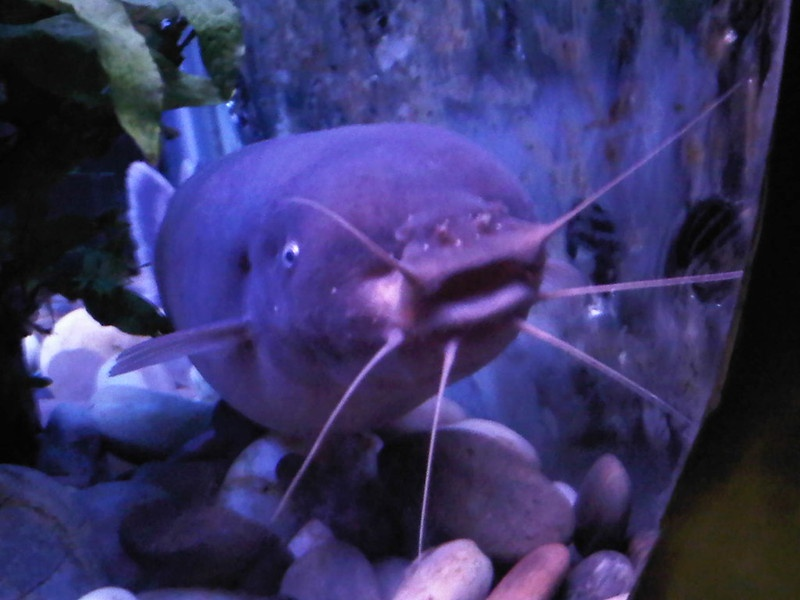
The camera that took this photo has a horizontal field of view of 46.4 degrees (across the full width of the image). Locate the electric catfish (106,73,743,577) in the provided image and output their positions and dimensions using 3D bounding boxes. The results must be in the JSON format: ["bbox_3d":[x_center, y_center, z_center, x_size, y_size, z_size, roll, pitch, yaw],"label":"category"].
[{"bbox_3d":[-0.049,0.012,0.974,0.385,0.318,0.703,-8,13,-32],"label":"electric catfish"}]
